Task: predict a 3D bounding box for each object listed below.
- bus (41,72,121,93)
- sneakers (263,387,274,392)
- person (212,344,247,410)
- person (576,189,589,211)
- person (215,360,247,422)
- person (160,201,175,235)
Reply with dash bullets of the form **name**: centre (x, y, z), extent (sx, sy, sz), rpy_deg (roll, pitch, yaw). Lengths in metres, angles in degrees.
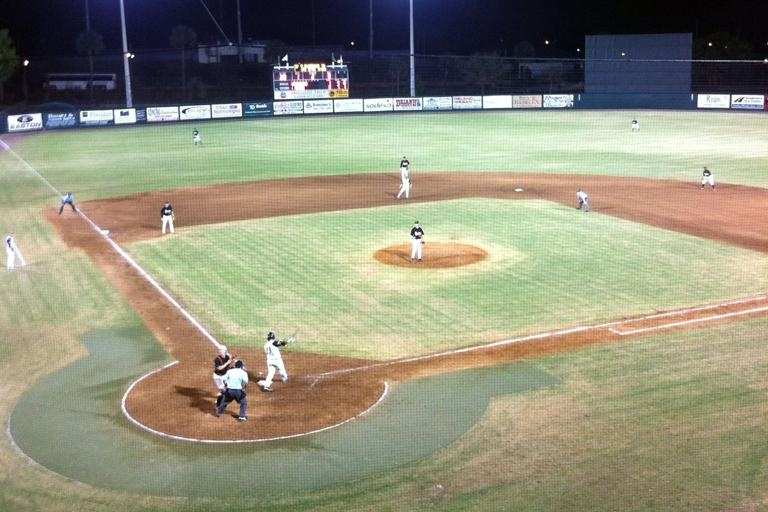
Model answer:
- **bus**: centre (-37.692, -21.641, 107.702), extent (5.571, 2.062, 9.922), rpy_deg (4, 15, 27)
- **sneakers**: centre (-3.406, 3.885, 25.285), extent (0.245, 0.148, 0.212), rpy_deg (-5, 13, -12)
- **person**: centre (-4.458, 3.570, 24.766), extent (0.979, 2.510, 1.092), rpy_deg (-4, 18, -18)
- **person**: centre (9.488, -2.578, 41.221), extent (0.760, 0.348, 1.285), rpy_deg (8, 24, 2)
- **person**: centre (-4.250, 3.792, 24.311), extent (0.832, 1.625, 0.499), rpy_deg (1, 14, 18)
- **person**: centre (-9.734, -1.755, 38.557), extent (0.603, 1.441, 1.549), rpy_deg (-6, 13, -13)
